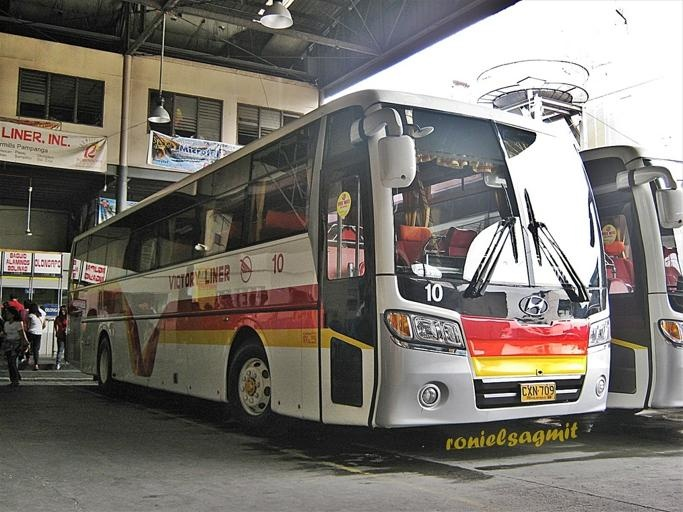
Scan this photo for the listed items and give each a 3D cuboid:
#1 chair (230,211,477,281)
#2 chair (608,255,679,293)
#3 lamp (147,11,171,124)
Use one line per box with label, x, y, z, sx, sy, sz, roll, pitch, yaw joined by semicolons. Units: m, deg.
chair;0.640;-0.087;6.982;1.639;0.722;0.651;0;-5;-1
chair;4.000;0.284;8.247;0.721;0.786;0.525;2;-1;15
lamp;-6.398;-6.856;21.965;0.668;3.718;0.670;0;11;-35
